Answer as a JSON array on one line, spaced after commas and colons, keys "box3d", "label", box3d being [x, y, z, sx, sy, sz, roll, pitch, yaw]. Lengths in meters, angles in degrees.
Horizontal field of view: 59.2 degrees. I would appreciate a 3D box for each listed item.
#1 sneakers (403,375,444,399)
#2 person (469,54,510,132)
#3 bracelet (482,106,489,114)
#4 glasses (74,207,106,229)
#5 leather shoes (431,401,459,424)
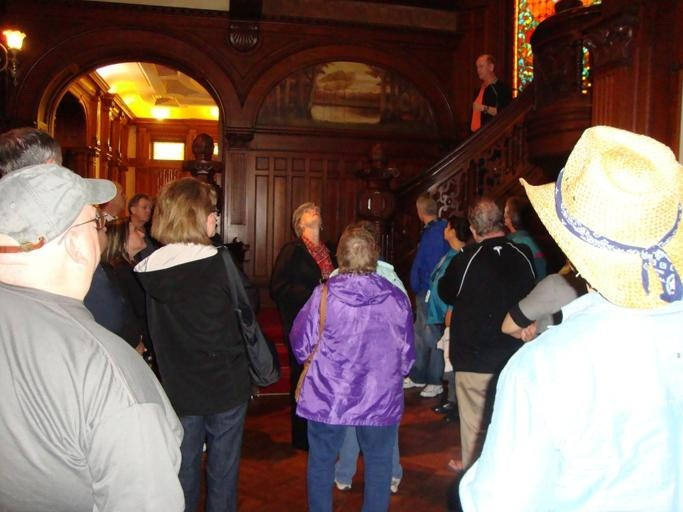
[{"box3d": [0.772, 1.263, 5.808, 0.396, 0.201, 0.156, 5, -3, -8], "label": "sneakers"}, {"box3d": [1.887, -2.043, 7.539, 0.466, 1.021, 0.892, 3, 7, 13], "label": "person"}, {"box3d": [1.810, -1.844, 7.533, 0.076, 0.036, 0.081, 12, -5, 7], "label": "bracelet"}, {"box3d": [-0.730, -0.110, 1.734, 0.062, 0.022, 0.066, -16, 19, -11], "label": "glasses"}, {"box3d": [0.885, 1.352, 5.184, 0.264, 0.118, 0.098, 2, 19, 24], "label": "leather shoes"}]
